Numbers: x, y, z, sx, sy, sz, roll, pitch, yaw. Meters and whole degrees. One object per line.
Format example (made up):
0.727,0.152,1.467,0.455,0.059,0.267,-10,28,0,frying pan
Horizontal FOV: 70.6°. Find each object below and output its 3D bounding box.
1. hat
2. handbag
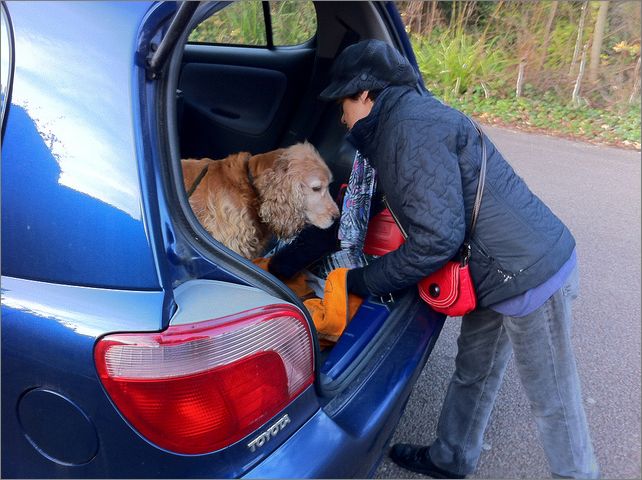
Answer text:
0.195,-0.662,1.769,0.293,0.183,0.228,-6,20,3,hat
0.505,0.176,1.786,0.090,0.174,0.166,-18,22,-25,handbag
